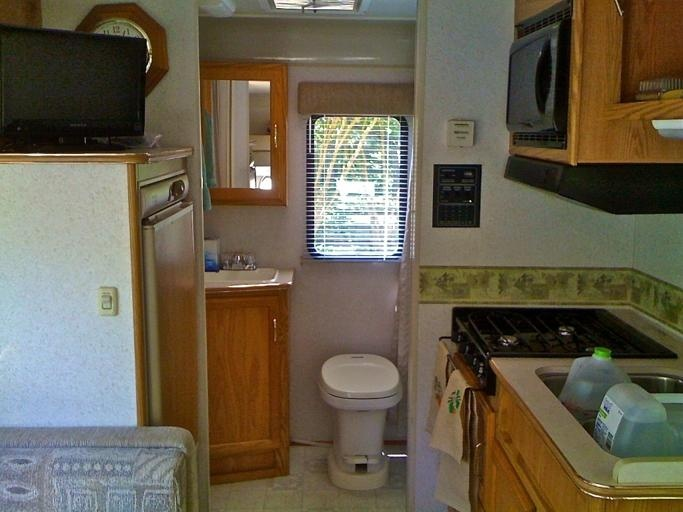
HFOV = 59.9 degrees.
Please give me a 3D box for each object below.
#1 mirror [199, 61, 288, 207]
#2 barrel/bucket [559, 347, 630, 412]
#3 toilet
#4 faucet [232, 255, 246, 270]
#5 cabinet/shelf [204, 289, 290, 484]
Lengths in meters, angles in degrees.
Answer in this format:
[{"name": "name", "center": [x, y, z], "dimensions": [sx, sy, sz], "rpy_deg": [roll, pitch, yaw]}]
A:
[{"name": "mirror", "center": [-0.651, -0.790, 3.757], "dimensions": [0.606, 0.991, 0.121], "rpy_deg": [-2, -12, 2]}, {"name": "barrel/bucket", "center": [0.825, 0.407, 1.931], "dimensions": [0.151, 0.255, 0.140], "rpy_deg": [2, 15, -1]}, {"name": "toilet", "center": [0.098, 1.006, 3.715], "dimensions": [0.614, 0.784, 0.651], "rpy_deg": [0, 7, 0]}, {"name": "faucet", "center": [-0.670, 0.035, 3.812], "dimensions": [0.072, 0.133, 0.073], "rpy_deg": [3, 11, 12]}, {"name": "cabinet/shelf", "center": [-0.702, 0.774, 3.739], "dimensions": [0.660, 1.058, 0.700], "rpy_deg": [-2, -6, -5]}]
